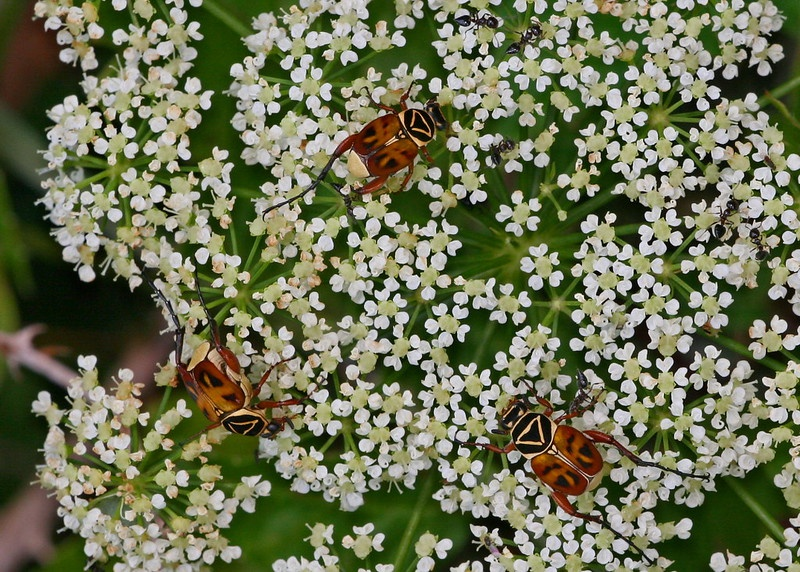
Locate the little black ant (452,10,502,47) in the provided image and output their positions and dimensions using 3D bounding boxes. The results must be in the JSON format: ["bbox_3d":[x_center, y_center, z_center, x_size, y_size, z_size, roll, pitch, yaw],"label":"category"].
[{"bbox_3d":[0.421,-1.420,4.801,0.240,0.097,0.124,-6,85,1],"label":"little black ant"}]

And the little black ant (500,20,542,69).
[{"bbox_3d":[0.672,-1.317,4.772,0.229,0.073,0.102,-42,85,-2],"label":"little black ant"}]

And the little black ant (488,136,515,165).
[{"bbox_3d":[0.544,-0.735,4.826,0.158,0.137,0.095,-39,84,-2],"label":"little black ant"}]

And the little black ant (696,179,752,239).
[{"bbox_3d":[1.729,-0.365,4.708,0.139,0.047,0.252,29,87,4],"label":"little black ant"}]
